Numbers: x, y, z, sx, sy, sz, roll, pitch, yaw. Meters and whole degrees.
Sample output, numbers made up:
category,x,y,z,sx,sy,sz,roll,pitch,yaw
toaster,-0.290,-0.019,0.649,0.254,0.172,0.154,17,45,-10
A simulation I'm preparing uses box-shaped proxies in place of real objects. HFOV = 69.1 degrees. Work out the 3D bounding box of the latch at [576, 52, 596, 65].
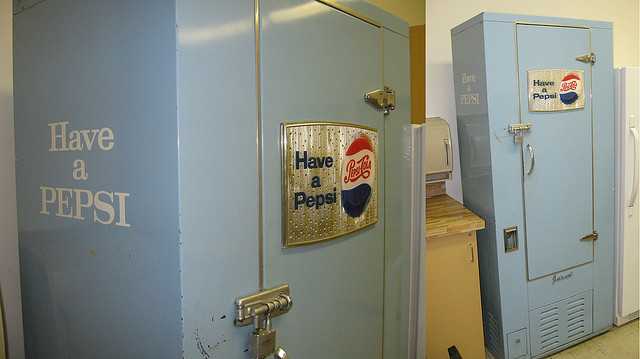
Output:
category,x,y,z,sx,sy,sz,roll,pitch,yaw
latch,2.101,-0.954,3.691,0.132,0.077,0.084,-6,-29,6

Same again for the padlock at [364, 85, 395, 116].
category,x,y,z,sx,sy,sz,roll,pitch,yaw
padlock,0.370,-0.482,2.741,0.185,0.140,0.053,-6,-15,42

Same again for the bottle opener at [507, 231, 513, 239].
category,x,y,z,sx,sy,sz,roll,pitch,yaw
bottle opener,1.451,0.420,3.542,0.050,0.048,0.009,-11,7,-28

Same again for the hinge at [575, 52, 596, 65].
category,x,y,z,sx,sy,sz,roll,pitch,yaw
hinge,2.100,-0.956,3.669,0.123,0.069,0.078,0,6,-11

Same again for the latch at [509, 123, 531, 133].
category,x,y,z,sx,sy,sz,roll,pitch,yaw
latch,1.513,-0.387,3.510,0.184,0.075,0.036,-10,6,-22

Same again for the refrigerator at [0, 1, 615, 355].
category,x,y,z,sx,sy,sz,roll,pitch,yaw
refrigerator,-0.118,-0.009,2.770,2.853,1.625,0.992,-2,2,-41

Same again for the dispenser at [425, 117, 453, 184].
category,x,y,z,sx,sy,sz,roll,pitch,yaw
dispenser,0.910,-0.221,3.597,0.212,0.514,0.217,-6,6,11
